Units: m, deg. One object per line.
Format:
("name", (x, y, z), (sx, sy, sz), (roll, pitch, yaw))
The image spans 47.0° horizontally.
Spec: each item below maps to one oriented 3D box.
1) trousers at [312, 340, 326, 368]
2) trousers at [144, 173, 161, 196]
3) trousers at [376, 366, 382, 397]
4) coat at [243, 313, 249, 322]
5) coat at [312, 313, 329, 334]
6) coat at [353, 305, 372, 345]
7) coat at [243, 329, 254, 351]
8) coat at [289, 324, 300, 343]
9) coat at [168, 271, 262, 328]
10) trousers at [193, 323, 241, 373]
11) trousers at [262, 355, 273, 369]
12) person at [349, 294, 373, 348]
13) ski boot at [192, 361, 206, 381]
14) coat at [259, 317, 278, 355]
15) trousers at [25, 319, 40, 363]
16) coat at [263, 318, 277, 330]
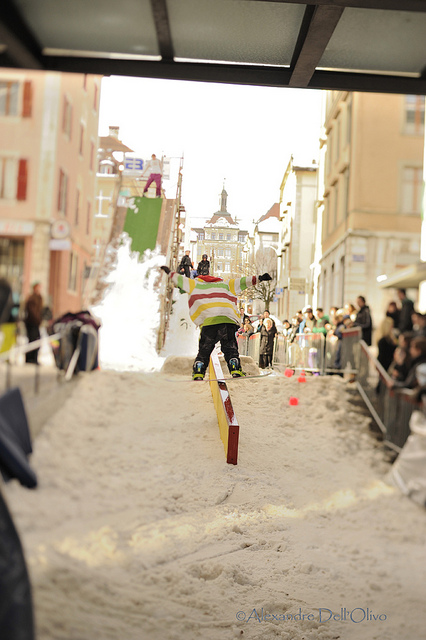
("trousers", (2.402, 0.775, 11.324), (0.107, 0.643, 0.618), (4, 1, -14))
("trousers", (-2.237, -5.015, 18.068), (0.537, 0.775, 1.784), (5, 1, -5))
("trousers", (2.988, 1.159, 8.913), (0.076, 0.542, 0.502), (5, 0, 19))
("coat", (1.074, -0.087, 16.639), (0.172, 0.090, 0.245), (-5, 28, -3))
("coat", (2.410, 0.097, 11.108), (0.163, 0.438, 0.689), (4, 1, -19))
("coat", (2.834, 0.125, 9.377), (0.279, 0.930, 0.386), (-1, -26, 8))
("coat", (1.187, 0.680, 17.213), (0.211, 0.714, 0.752), (4, 1, -6))
("coat", (2.043, 0.357, 12.557), (0.125, 0.452, 0.117), (5, 22, -34))
("coat", (0.022, -0.262, 7.061), (1.494, 1.260, 0.422), (-5, -37, -9))
("trousers", (0.066, 0.348, 6.933), (0.528, 0.674, 0.454), (0, 5, -19))
("trousers", (1.518, 1.205, 14.102), (0.289, 0.509, 0.302), (-1, 4, -11))
("person", (2.854, 0.108, 9.476), (0.359, 1.173, 0.452), (-14, 31, 4))
("ski boot", (-0.207, 0.709, 6.826), (0.175, 0.268, 0.327), (5, 1, 0))
("coat", (1.584, 0.473, 14.212), (0.461, 1.082, 0.542), (5, 0, -5))
("trousers", (-2.906, 0.392, 7.855), (0.196, 0.710, 1.589), (4, 1, -19))
("coat", (1.585, 0.107, 14.166), (0.206, 0.294, 0.258), (4, 17, 6))
